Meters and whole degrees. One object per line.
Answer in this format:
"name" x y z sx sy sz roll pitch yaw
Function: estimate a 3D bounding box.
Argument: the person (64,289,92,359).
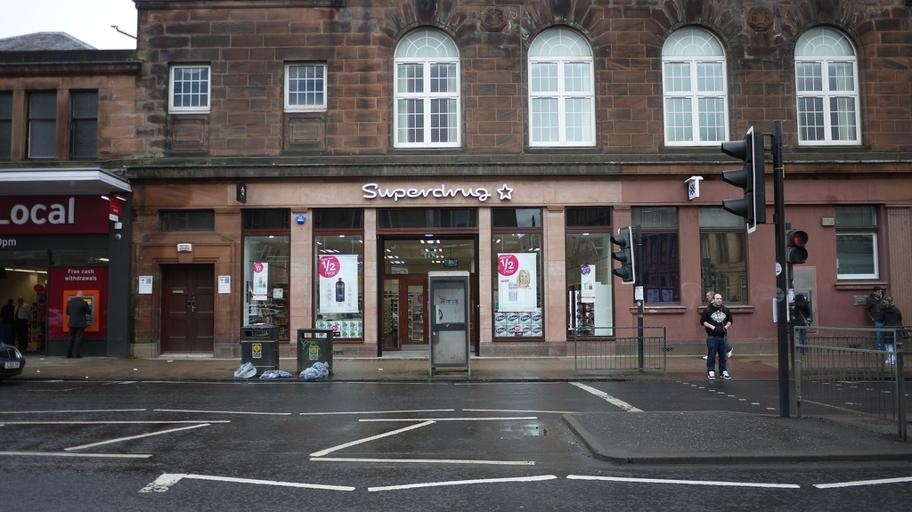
"person" -15.281 2.762 42.718 0.807 2.627 0.751 0 -3 -2

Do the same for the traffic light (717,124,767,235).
"traffic light" 9.169 -2.427 33.459 1.188 3.291 0.716 -1 -3 13

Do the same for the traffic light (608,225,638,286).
"traffic light" 6.402 -0.057 39.716 0.941 2.141 0.936 -1 -3 10
